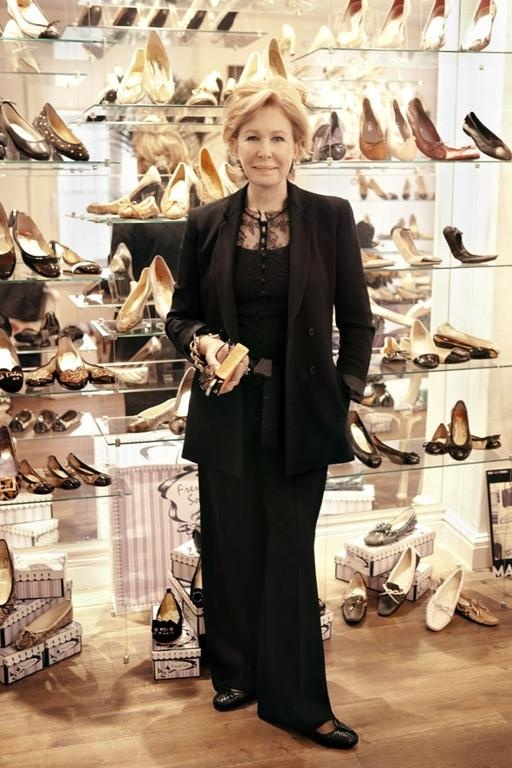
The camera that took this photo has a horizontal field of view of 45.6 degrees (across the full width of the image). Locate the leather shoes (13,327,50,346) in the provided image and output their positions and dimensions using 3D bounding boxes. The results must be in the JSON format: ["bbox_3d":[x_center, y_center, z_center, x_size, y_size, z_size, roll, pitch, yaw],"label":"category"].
[{"bbox_3d":[-0.881,-0.179,2.411,0.072,0.046,0.124,1,17,-27],"label":"leather shoes"}]

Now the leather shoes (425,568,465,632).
[{"bbox_3d":[0.738,0.868,2.400,0.091,0.075,0.292,7,29,28],"label":"leather shoes"}]

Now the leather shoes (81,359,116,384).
[{"bbox_3d":[-0.525,-0.035,2.069,0.126,0.049,0.047,16,38,10],"label":"leather shoes"}]

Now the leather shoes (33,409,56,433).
[{"bbox_3d":[-0.788,0.144,2.273,0.044,0.037,0.124,4,28,-9],"label":"leather shoes"}]

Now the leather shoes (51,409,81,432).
[{"bbox_3d":[-0.724,0.142,2.319,0.043,0.031,0.112,11,16,8],"label":"leather shoes"}]

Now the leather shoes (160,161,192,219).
[{"bbox_3d":[-0.278,-0.692,2.269,0.101,0.103,0.287,5,59,10],"label":"leather shoes"}]

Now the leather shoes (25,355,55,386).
[{"bbox_3d":[-0.704,-0.036,2.016,0.078,0.095,0.128,0,4,18],"label":"leather shoes"}]

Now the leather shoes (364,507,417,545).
[{"bbox_3d":[0.579,0.637,2.668,0.106,0.085,0.275,-6,3,39],"label":"leather shoes"}]

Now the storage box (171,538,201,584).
[{"bbox_3d":[-0.256,0.655,2.237,0.122,0.077,0.123,-4,7,-19],"label":"storage box"}]

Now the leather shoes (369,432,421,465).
[{"bbox_3d":[0.552,0.256,2.465,0.215,0.095,0.073,13,15,35],"label":"leather shoes"}]

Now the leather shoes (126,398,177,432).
[{"bbox_3d":[-0.387,0.121,2.289,0.076,0.067,0.224,-4,23,45],"label":"leather shoes"}]

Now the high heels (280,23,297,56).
[{"bbox_3d":[0.125,-1.334,2.368,0.047,0.143,0.060,0,10,6],"label":"high heels"}]

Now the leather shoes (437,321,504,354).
[{"bbox_3d":[0.851,-0.187,2.488,0.279,0.078,0.095,26,49,37],"label":"leather shoes"}]

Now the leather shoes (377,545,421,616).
[{"bbox_3d":[0.595,0.820,2.549,0.112,0.101,0.344,-9,34,42],"label":"leather shoes"}]

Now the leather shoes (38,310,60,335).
[{"bbox_3d":[-0.842,-0.243,2.505,0.058,0.075,0.178,-2,50,-9],"label":"leather shoes"}]

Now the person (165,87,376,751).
[{"bbox_3d":[0.011,0.167,1.519,0.496,1.633,0.528,-3,4,-30],"label":"person"}]

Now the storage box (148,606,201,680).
[{"bbox_3d":[-0.262,0.844,2.001,0.114,0.088,0.254,0,8,-8],"label":"storage box"}]

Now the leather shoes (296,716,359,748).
[{"bbox_3d":[0.189,0.912,1.627,0.176,0.072,0.062,-4,-4,33],"label":"leather shoes"}]

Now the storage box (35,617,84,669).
[{"bbox_3d":[-0.688,0.886,2.116,0.090,0.105,0.147,1,7,28],"label":"storage box"}]

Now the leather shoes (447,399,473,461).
[{"bbox_3d":[0.845,0.211,2.534,0.093,0.114,0.295,-5,52,22],"label":"leather shoes"}]

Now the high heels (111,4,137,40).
[{"bbox_3d":[-0.455,-1.284,2.154,0.048,0.068,0.164,2,59,6],"label":"high heels"}]

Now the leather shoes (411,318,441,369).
[{"bbox_3d":[0.651,-0.139,2.372,0.091,0.090,0.242,-19,37,10],"label":"leather shoes"}]

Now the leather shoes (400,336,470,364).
[{"bbox_3d":[0.706,-0.130,2.421,0.094,0.092,0.282,-17,21,-25],"label":"leather shoes"}]

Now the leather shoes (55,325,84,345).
[{"bbox_3d":[-0.725,-0.198,2.373,0.063,0.076,0.176,-3,14,-8],"label":"leather shoes"}]

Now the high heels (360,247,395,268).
[{"bbox_3d":[0.467,-0.489,2.391,0.154,0.081,0.222,0,11,1],"label":"high heels"}]

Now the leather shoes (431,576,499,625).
[{"bbox_3d":[0.839,0.861,2.405,0.066,0.055,0.195,-25,31,-30],"label":"leather shoes"}]

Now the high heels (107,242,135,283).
[{"bbox_3d":[-0.508,-0.465,2.334,0.063,0.103,0.194,-4,22,-6],"label":"high heels"}]

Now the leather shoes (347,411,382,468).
[{"bbox_3d":[0.416,0.222,2.368,0.091,0.079,0.276,-8,44,-16],"label":"leather shoes"}]

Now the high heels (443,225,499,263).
[{"bbox_3d":[0.847,-0.579,2.478,0.255,0.195,0.113,7,27,19],"label":"high heels"}]

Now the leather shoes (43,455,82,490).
[{"bbox_3d":[-0.691,0.314,2.147,0.065,0.075,0.181,-7,23,-42],"label":"leather shoes"}]

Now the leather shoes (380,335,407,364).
[{"bbox_3d":[0.545,-0.125,2.432,0.055,0.069,0.163,-11,2,3],"label":"leather shoes"}]

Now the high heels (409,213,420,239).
[{"bbox_3d":[0.706,-0.709,2.738,0.036,0.116,0.047,-16,5,-22],"label":"high heels"}]

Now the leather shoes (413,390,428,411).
[{"bbox_3d":[0.761,0.081,2.855,0.041,0.125,0.052,11,6,28],"label":"leather shoes"}]

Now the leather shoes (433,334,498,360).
[{"bbox_3d":[0.837,-0.162,2.473,0.249,0.070,0.092,26,32,33],"label":"leather shoes"}]

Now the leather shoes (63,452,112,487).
[{"bbox_3d":[-0.604,0.316,2.162,0.220,0.084,0.082,19,15,32],"label":"leather shoes"}]

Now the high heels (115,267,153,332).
[{"bbox_3d":[-0.453,-0.307,2.252,0.129,0.235,0.198,-2,4,-11],"label":"high heels"}]

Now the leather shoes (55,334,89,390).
[{"bbox_3d":[-0.622,-0.057,2.074,0.086,0.080,0.227,-9,46,-21],"label":"leather shoes"}]

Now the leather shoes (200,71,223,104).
[{"bbox_3d":[-0.165,-1.083,2.218,0.071,0.061,0.184,6,48,-16],"label":"leather shoes"}]

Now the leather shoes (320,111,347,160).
[{"bbox_3d":[0.282,-0.899,2.273,0.070,0.221,0.093,7,-17,7],"label":"leather shoes"}]

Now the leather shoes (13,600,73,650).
[{"bbox_3d":[-0.732,0.836,2.097,0.065,0.052,0.156,11,23,37],"label":"leather shoes"}]

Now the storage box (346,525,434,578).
[{"bbox_3d":[0.600,0.722,2.675,0.321,0.106,0.184,-13,18,-41],"label":"storage box"}]

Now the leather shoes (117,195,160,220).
[{"bbox_3d":[-0.409,-0.619,2.143,0.142,0.059,0.092,-19,55,-29],"label":"leather shoes"}]

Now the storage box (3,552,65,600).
[{"bbox_3d":[-0.797,0.695,2.227,0.156,0.100,0.161,-1,8,-13],"label":"storage box"}]

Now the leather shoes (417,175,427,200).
[{"bbox_3d":[0.732,-0.870,2.724,0.039,0.120,0.046,-5,24,-2],"label":"leather shoes"}]

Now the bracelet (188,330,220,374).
[{"bbox_3d":[-0.109,-0.067,1.300,0.061,0.042,0.096,-33,29,11],"label":"bracelet"}]

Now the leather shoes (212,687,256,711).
[{"bbox_3d":[-0.065,0.923,1.802,0.118,0.044,0.057,-4,14,-31],"label":"leather shoes"}]
